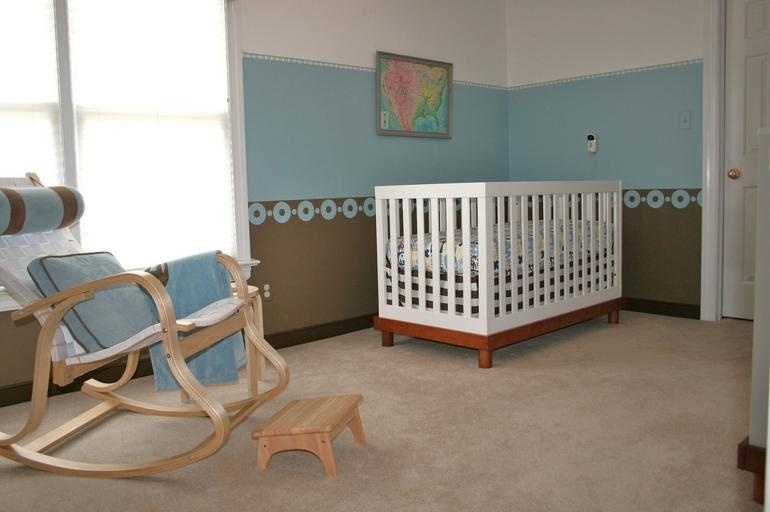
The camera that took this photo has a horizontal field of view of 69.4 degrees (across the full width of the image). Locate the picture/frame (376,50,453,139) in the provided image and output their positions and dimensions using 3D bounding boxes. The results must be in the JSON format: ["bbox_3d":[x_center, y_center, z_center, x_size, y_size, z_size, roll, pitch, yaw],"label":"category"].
[{"bbox_3d":[0.216,-1.336,4.588,0.778,0.654,0.033,-2,2,-42],"label":"picture/frame"}]

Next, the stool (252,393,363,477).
[{"bbox_3d":[-0.348,0.846,2.654,0.502,0.221,0.530,-9,3,-9],"label":"stool"}]

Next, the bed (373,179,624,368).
[{"bbox_3d":[1.011,0.033,4.330,1.825,1.222,1.032,-6,7,-39],"label":"bed"}]
